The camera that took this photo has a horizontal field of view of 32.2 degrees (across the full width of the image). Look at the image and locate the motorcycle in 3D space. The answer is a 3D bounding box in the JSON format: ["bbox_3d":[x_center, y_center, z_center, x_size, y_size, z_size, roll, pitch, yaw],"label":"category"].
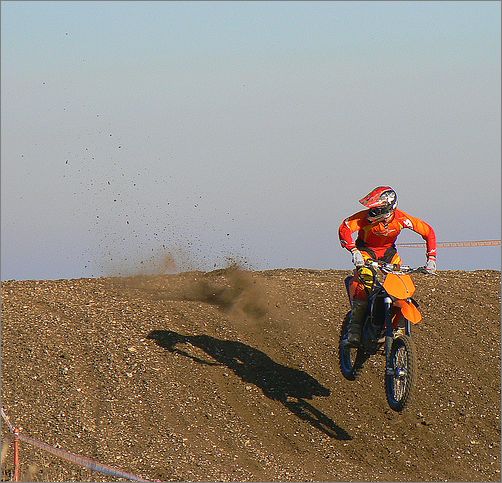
[{"bbox_3d":[2.003,1.298,13.780,0.905,2.140,3.376,8,5,-10],"label":"motorcycle"}]

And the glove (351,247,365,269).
[{"bbox_3d":[1.634,0.266,13.236,0.196,0.256,0.365,-3,14,4],"label":"glove"}]

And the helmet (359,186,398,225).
[{"bbox_3d":[1.941,-0.517,12.904,0.550,0.574,0.501,4,14,-11],"label":"helmet"}]
